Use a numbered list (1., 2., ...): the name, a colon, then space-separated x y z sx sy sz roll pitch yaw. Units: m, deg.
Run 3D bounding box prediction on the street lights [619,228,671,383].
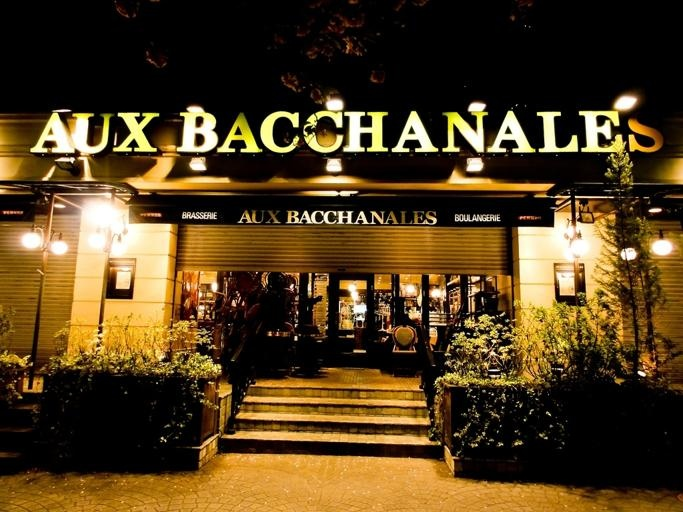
1. street lights: 5.463 0.788 10.324 0.911 2.699 0.538 5 -11 -11
